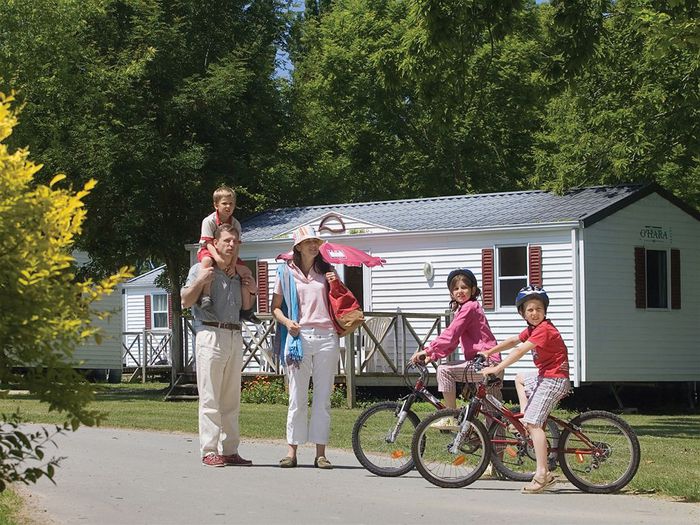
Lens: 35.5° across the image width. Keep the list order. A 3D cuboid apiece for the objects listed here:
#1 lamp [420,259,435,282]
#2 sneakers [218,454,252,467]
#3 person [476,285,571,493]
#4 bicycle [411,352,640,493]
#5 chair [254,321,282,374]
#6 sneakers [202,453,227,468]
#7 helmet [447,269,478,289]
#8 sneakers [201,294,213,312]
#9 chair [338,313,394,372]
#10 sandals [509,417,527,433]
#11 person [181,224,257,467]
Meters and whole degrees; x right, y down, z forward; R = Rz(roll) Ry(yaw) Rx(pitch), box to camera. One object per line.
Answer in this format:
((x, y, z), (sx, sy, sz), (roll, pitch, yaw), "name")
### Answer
((1.867, 0.231, 26.025), (0.286, 0.423, 0.098), (3, 5, 31), "lamp")
((-1.363, 2.335, 12.981), (0.382, 0.156, 0.130), (3, -2, -10), "sneakers")
((1.974, 1.370, 12.076), (0.636, 2.226, 0.749), (4, -6, -34), "person")
((1.930, 1.876, 12.169), (2.489, 1.460, 1.151), (1, -30, 8), "bicycle")
((-1.663, 1.979, 24.997), (0.788, 1.139, 0.807), (0, -5, -14), "chair")
((-1.562, 2.292, 12.678), (0.297, 0.129, 0.115), (-11, -9, 41), "sneakers")
((1.440, 0.221, 14.113), (0.325, 0.401, 0.157), (-2, -11, 4), "helmet")
((-1.673, 0.457, 12.687), (0.151, 0.189, 0.113), (2, -5, -10), "sneakers")
((0.443, 1.761, 24.165), (1.359, 1.896, 1.498), (2, -8, -2), "chair")
((1.853, 1.819, 12.193), (0.232, 0.150, 0.118), (-11, -8, 26), "sandals")
((-1.543, 0.969, 12.807), (0.868, 2.788, 0.368), (3, -5, -25), "person")
